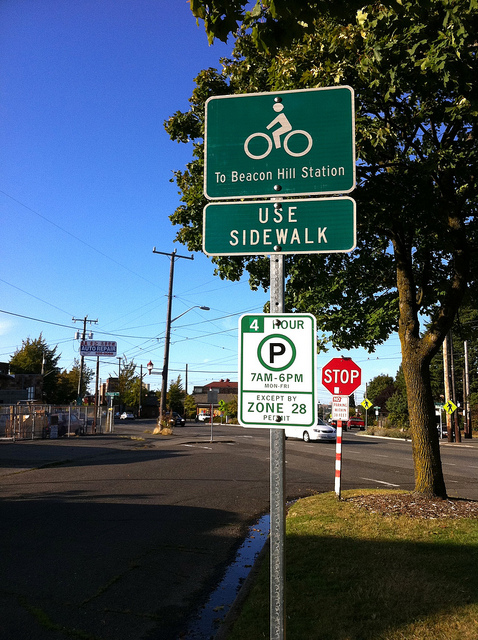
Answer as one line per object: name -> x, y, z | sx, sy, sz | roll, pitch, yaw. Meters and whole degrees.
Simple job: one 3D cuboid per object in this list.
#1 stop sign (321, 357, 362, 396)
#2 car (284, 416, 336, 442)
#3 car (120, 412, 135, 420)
stop sign -> 1.751, 0.918, 10.295 | 0.726, 0.764, 0.063 | 1, 20, 7
car -> 3.807, 5.733, 31.342 | 2.072, 1.093, 4.814 | -9, -6, -8
car -> -17.972, 15.267, 97.827 | 1.286, 1.013, 2.862 | 2, -1, -19
